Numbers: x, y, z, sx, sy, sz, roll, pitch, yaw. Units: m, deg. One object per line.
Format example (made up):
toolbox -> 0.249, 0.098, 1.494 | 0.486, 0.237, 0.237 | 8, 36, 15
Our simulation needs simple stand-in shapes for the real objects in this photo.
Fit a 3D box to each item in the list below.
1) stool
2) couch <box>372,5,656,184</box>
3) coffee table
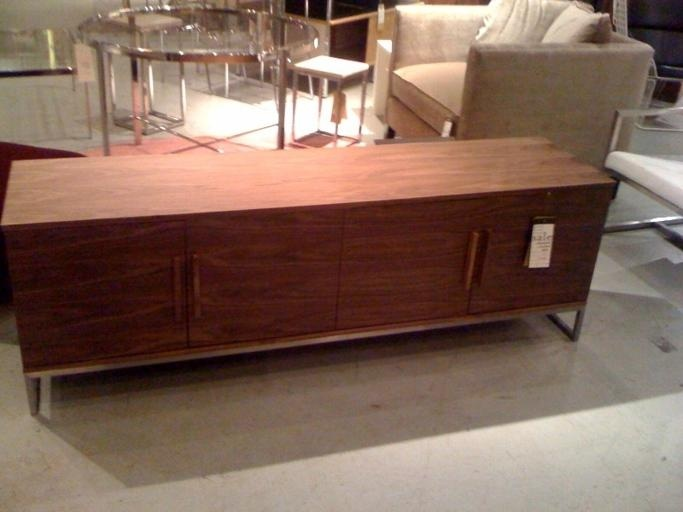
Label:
stool -> -0.021, -1.215, 4.185 | 0.437, 0.445, 0.459 | -20, 36, -20
couch -> 0.984, -1.202, 3.587 | 1.485, 1.137, 1.472 | -8, 38, -13
coffee table -> -1.031, -1.227, 3.887 | 1.231, 0.823, 1.575 | -29, 49, -35
